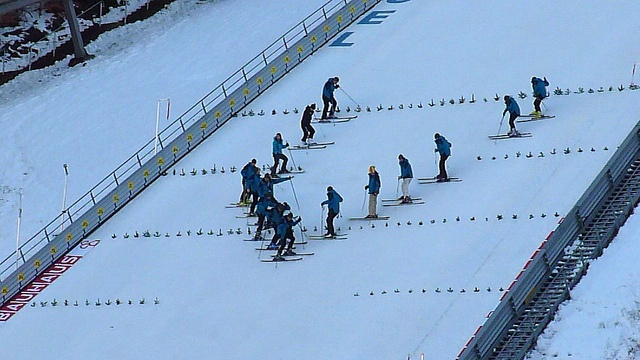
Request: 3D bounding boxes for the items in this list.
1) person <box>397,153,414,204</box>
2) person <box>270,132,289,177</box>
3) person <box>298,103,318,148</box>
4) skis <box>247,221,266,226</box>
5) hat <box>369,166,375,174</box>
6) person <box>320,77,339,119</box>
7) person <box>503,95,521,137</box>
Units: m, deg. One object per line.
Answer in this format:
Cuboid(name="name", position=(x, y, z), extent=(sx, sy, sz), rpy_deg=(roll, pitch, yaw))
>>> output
Cuboid(name="person", position=(4.841, 0.081, 88.223), extent=(1.334, 3.253, 1.117), rpy_deg=(-3, 37, -2))
Cuboid(name="person", position=(-2.343, -1.324, 90.579), extent=(1.476, 2.721, 0.777), rpy_deg=(7, 50, 10))
Cuboid(name="person", position=(-0.697, -3.093, 92.180), extent=(1.102, 2.740, 0.996), rpy_deg=(-1, 53, -5))
Cuboid(name="skis", position=(-3.659, 2.539, 88.953), extent=(0.124, 0.166, 1.131), rpy_deg=(3, -7, -42))
Cuboid(name="hat", position=(2.919, -0.543, 86.581), extent=(0.273, 0.354, 0.373), rpy_deg=(-2, 24, 8))
Cuboid(name="person", position=(0.613, -4.798, 93.305), extent=(1.017, 2.492, 1.061), rpy_deg=(1, 64, -1))
Cuboid(name="person", position=(11.166, -3.614, 90.540), extent=(1.177, 2.500, 0.858), rpy_deg=(0, 56, 13))
